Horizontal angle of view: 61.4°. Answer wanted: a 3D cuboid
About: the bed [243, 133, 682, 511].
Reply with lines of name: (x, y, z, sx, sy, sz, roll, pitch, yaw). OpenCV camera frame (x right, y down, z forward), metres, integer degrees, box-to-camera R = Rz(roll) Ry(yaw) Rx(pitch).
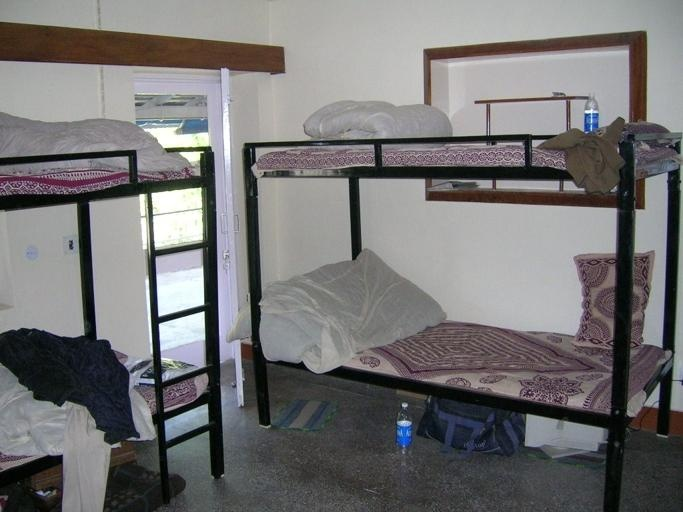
bed: (0.953, 0.533, 4.164, 2.434, 1.921, 1.393, 5, 10, 34)

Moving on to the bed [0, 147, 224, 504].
bed: (-1.541, 0.476, 3.757, 2.257, 2.165, 0.817, 6, 11, 34)

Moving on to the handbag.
handbag: (0.954, 1.246, 4.261, 0.728, 0.395, 0.707, 8, 1, 25)

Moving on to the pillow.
pillow: (1.866, 0.298, 3.901, 0.677, 0.822, 0.120, 2, 0, 39)

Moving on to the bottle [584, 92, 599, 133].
bottle: (1.930, -1.105, 4.425, 0.117, 0.270, 0.236, 5, 15, 22)
